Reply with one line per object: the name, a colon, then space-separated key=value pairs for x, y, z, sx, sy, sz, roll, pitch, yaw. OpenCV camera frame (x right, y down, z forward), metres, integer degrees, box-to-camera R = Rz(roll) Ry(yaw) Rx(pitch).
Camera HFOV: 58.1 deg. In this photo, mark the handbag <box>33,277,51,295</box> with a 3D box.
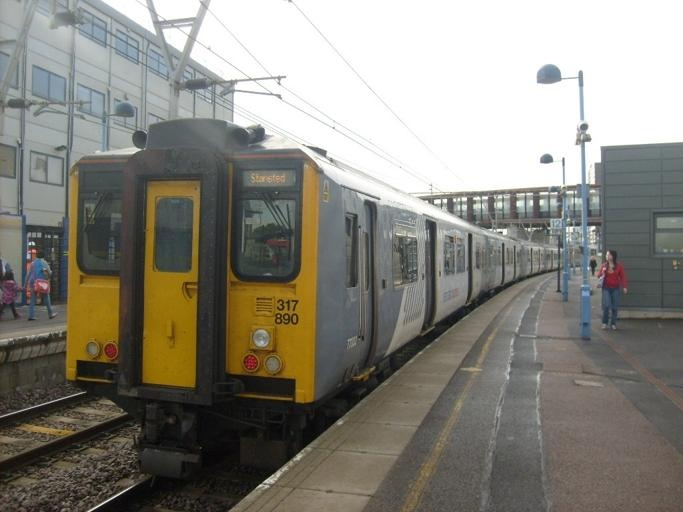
handbag: x=-8.033 y=0.740 z=16.573 sx=0.266 sy=0.594 sz=0.568 roll=1 pitch=0 yaw=29
